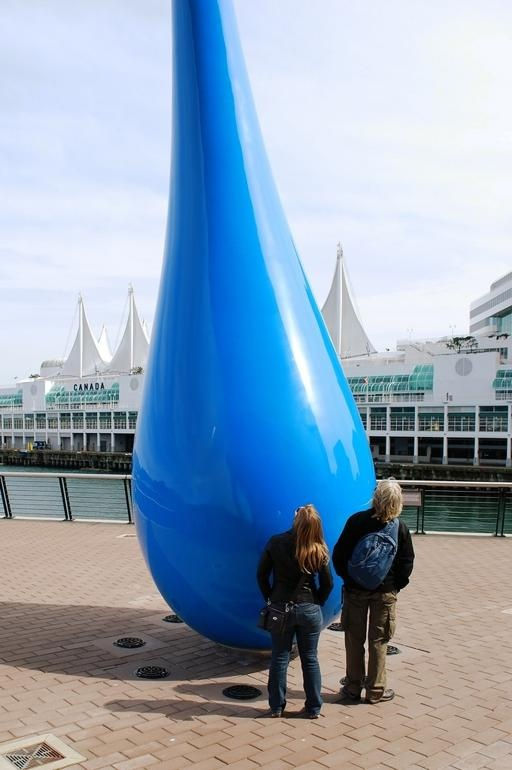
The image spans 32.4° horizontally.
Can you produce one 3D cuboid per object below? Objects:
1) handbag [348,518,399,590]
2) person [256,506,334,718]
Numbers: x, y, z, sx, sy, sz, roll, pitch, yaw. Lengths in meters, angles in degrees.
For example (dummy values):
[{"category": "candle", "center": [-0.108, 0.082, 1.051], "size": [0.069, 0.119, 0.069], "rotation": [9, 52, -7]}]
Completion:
[{"category": "handbag", "center": [0.772, 1.087, 5.668], "size": [0.189, 0.326, 0.333], "rotation": [27, 43, 8]}, {"category": "person", "center": [0.244, 1.412, 5.525], "size": [0.462, 1.316, 0.278], "rotation": [0, -2, -1]}]
